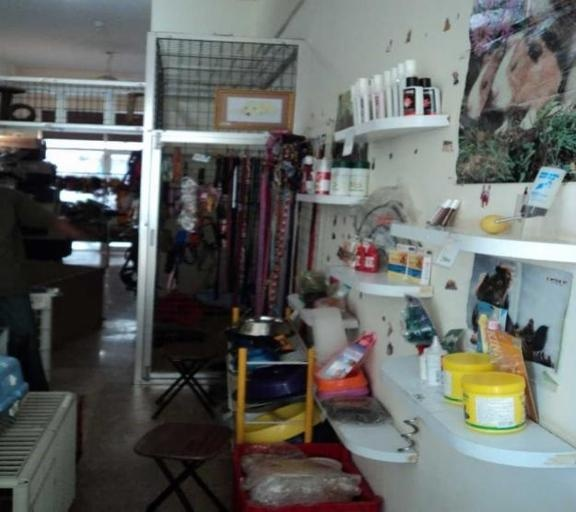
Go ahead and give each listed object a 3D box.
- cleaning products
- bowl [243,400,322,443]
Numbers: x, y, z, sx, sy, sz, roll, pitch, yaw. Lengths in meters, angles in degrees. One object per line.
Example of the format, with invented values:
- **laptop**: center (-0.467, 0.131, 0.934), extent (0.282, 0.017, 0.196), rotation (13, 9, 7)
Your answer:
- **cleaning products**: center (0.254, -0.399, 2.458), extent (0.359, 0.313, 0.193), rotation (3, 5, 33)
- **bowl**: center (-0.030, 0.811, 2.457), extent (0.333, 0.071, 0.181), rotation (-4, 3, -27)
